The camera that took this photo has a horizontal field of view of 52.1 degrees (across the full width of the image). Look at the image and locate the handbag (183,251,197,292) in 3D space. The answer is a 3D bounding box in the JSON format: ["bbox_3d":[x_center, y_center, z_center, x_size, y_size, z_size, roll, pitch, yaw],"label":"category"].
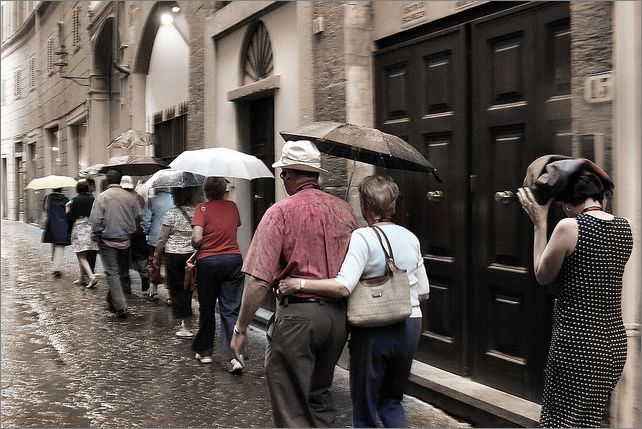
[{"bbox_3d":[-1.643,0.745,8.248,0.154,0.415,0.349,0,-2,-14],"label":"handbag"}]

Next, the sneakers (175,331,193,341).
[{"bbox_3d":[-1.985,1.748,9.534,0.187,0.059,0.115,4,-3,-6],"label":"sneakers"}]

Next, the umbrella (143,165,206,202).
[{"bbox_3d":[-2.146,-0.507,9.831,0.807,0.490,0.771,-1,-2,6],"label":"umbrella"}]

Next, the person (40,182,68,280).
[{"bbox_3d":[-5.989,0.396,14.795,0.589,1.922,0.946,-3,8,-22],"label":"person"}]

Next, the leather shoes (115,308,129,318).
[{"bbox_3d":[-3.205,1.567,10.552,0.177,0.150,0.184,-2,7,-17],"label":"leather shoes"}]

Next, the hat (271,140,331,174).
[{"bbox_3d":[-0.195,-0.528,5.972,0.576,0.253,0.502,8,9,22],"label":"hat"}]

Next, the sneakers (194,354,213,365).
[{"bbox_3d":[-1.526,1.855,8.517,0.093,0.098,0.250,4,4,-24],"label":"sneakers"}]

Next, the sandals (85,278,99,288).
[{"bbox_3d":[-4.591,1.407,13.156,0.122,0.156,0.367,-49,7,-38],"label":"sandals"}]

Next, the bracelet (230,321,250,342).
[{"bbox_3d":[-0.712,1.053,5.879,0.134,0.180,0.066,19,25,37],"label":"bracelet"}]

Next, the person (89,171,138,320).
[{"bbox_3d":[-3.382,0.455,10.735,0.599,2.303,0.783,1,7,5],"label":"person"}]

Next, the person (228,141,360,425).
[{"bbox_3d":[-0.215,0.628,5.750,1.049,2.519,0.631,0,7,3],"label":"person"}]

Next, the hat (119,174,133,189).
[{"bbox_3d":[-3.790,-0.648,12.843,0.333,0.314,0.302,3,-7,-23],"label":"hat"}]

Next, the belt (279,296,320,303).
[{"bbox_3d":[-0.179,0.735,5.640,0.357,0.074,0.038,1,7,9],"label":"belt"}]
